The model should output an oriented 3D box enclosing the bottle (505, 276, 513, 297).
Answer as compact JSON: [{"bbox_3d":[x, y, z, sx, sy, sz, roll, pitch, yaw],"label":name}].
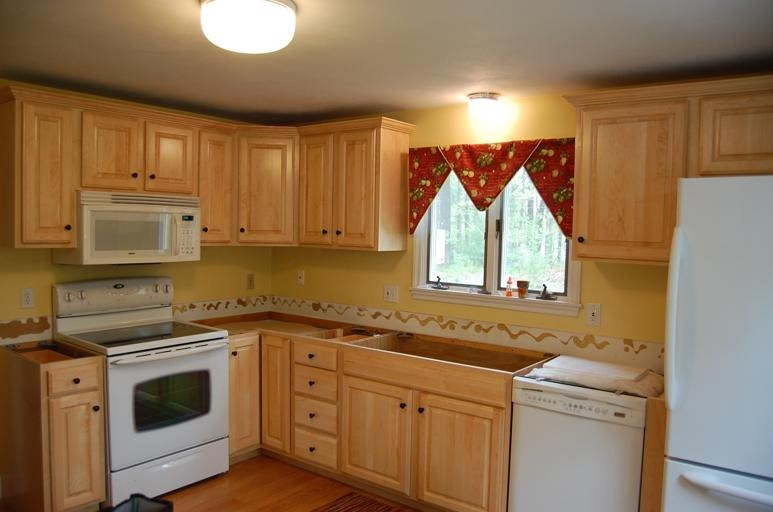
[{"bbox_3d":[0.922,0.219,4.436,0.056,0.143,0.123,0,4,10],"label":"bottle"}]

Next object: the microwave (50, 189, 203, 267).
[{"bbox_3d":[-1.851,-0.201,4.363,0.569,0.541,0.922,-1,-1,38],"label":"microwave"}]

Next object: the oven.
[{"bbox_3d":[-1.569,1.143,4.729,0.986,1.393,1.091,0,2,43],"label":"oven"}]

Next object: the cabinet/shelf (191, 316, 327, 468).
[{"bbox_3d":[-0.995,0.920,5.179,1.029,1.283,1.441,2,-2,-44],"label":"cabinet/shelf"}]

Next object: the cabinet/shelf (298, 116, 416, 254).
[{"bbox_3d":[-0.207,-0.586,4.716,1.200,1.232,0.676,1,0,33],"label":"cabinet/shelf"}]

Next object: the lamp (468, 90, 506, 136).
[{"bbox_3d":[0.735,-1.087,4.400,0.265,0.279,0.255,-1,17,1],"label":"lamp"}]
